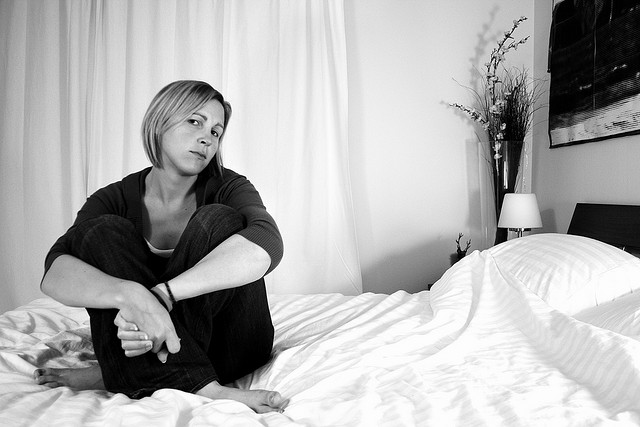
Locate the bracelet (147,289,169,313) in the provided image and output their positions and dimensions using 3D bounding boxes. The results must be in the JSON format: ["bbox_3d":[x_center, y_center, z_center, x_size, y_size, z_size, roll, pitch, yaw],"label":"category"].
[{"bbox_3d":[-0.527,0.286,1.447,0.064,0.071,0.023,4,16,26],"label":"bracelet"}]

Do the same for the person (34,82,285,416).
[{"bbox_3d":[-0.564,0.074,1.683,0.842,1.210,0.931,3,-5,-29],"label":"person"}]

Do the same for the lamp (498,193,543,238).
[{"bbox_3d":[1.294,0.014,2.867,0.185,0.292,0.183,0,0,-4],"label":"lamp"}]

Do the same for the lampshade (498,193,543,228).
[{"bbox_3d":[1.283,-0.031,2.884,0.231,0.222,0.227,-10,11,-41],"label":"lampshade"}]

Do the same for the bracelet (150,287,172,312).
[{"bbox_3d":[-0.503,0.273,1.444,0.019,0.069,0.069,-26,-15,-10],"label":"bracelet"}]
